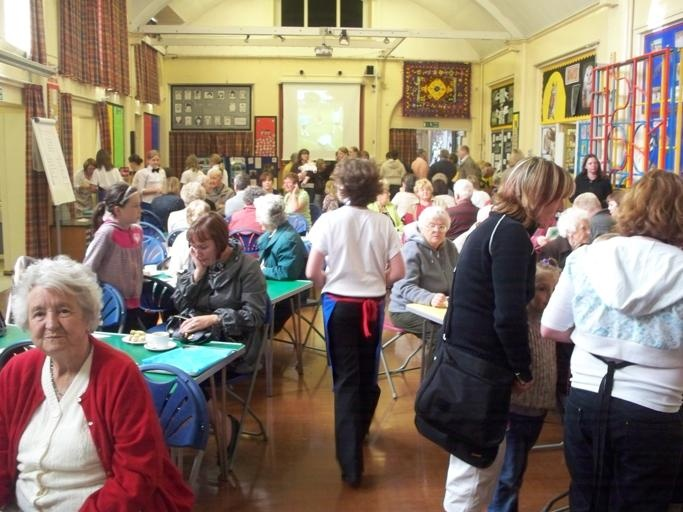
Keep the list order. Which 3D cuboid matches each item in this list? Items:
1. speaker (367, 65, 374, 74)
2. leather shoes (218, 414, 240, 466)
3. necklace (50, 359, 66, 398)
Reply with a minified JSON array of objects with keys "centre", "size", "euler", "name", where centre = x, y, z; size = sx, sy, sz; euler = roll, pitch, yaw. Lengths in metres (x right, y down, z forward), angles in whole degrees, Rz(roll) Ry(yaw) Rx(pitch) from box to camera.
[{"centre":[0.667,-4.453,14.590],"size":[0.156,0.211,0.112],"euler":[-3,21,-6],"name":"speaker"},{"centre":[-0.588,0.972,3.287],"size":[0.069,0.184,0.056],"euler":[9,-12,-43],"name":"leather shoes"},{"centre":[-0.966,0.417,2.103],"size":[0.073,0.120,0.020],"euler":[-6,0,-3],"name":"necklace"}]
